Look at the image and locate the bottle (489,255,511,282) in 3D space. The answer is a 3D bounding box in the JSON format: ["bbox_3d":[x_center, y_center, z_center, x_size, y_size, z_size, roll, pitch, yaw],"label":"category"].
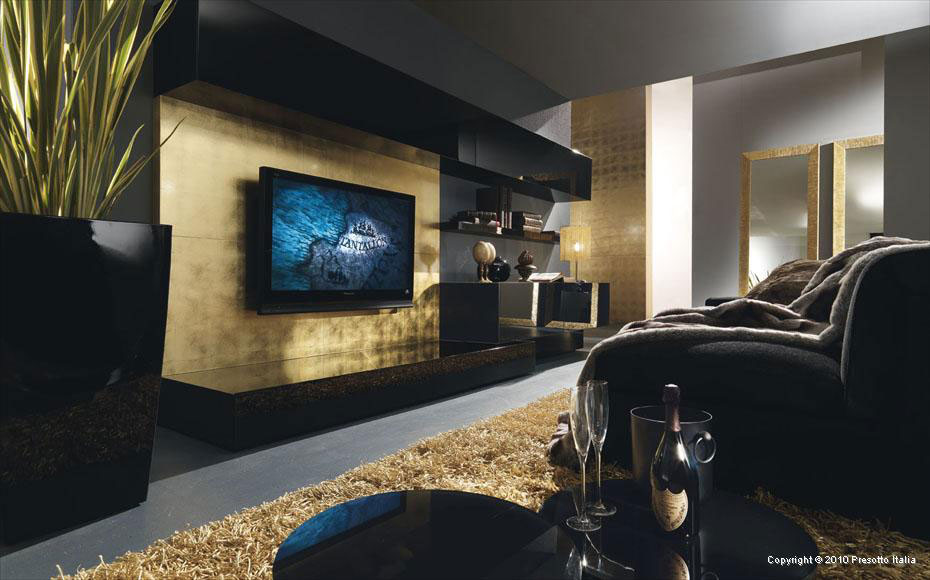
[{"bbox_3d":[0.356,-0.209,6.382,0.260,0.284,0.252,1,8,8],"label":"bottle"}]

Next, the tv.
[{"bbox_3d":[-0.944,-0.303,4.756,0.106,1.016,1.543,5,4,38],"label":"tv"}]

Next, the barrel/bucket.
[{"bbox_3d":[0.833,0.609,2.485,0.316,0.297,0.352,-2,-5,35],"label":"barrel/bucket"}]
